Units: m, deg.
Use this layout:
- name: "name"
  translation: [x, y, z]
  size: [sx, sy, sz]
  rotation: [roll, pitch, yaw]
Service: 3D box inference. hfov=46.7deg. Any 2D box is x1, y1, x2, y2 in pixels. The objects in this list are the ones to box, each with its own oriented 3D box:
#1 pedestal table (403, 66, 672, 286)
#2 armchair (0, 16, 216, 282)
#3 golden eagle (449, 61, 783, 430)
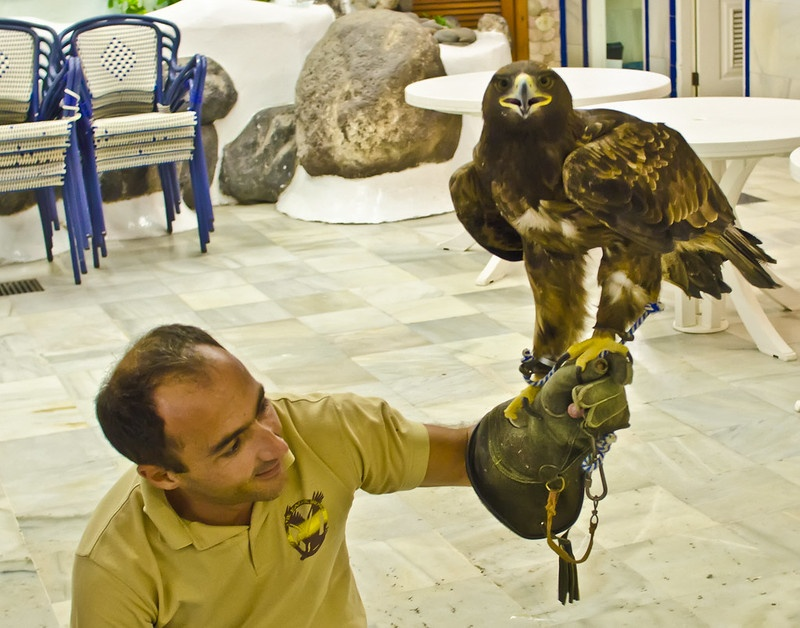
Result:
- name: "pedestal table"
  translation: [0.712, -0.721, 4.753]
  size: [1.344, 0.872, 1.230]
  rotation: [-2, 28, 6]
- name: "armchair"
  translation: [-1.571, -1.026, 5.510]
  size: [0.864, 1.409, 1.108]
  rotation: [-1, 16, 10]
- name: "golden eagle"
  translation: [0.498, -0.216, 2.140]
  size: [0.894, 0.599, 0.522]
  rotation: [-9, 4, -42]
